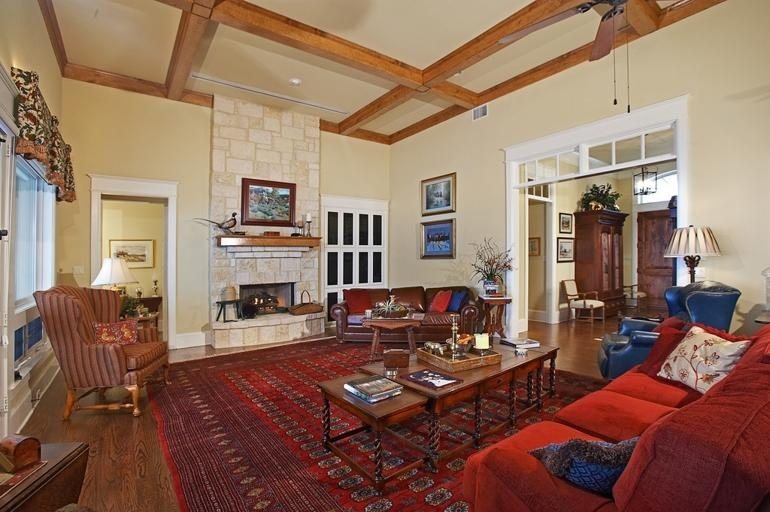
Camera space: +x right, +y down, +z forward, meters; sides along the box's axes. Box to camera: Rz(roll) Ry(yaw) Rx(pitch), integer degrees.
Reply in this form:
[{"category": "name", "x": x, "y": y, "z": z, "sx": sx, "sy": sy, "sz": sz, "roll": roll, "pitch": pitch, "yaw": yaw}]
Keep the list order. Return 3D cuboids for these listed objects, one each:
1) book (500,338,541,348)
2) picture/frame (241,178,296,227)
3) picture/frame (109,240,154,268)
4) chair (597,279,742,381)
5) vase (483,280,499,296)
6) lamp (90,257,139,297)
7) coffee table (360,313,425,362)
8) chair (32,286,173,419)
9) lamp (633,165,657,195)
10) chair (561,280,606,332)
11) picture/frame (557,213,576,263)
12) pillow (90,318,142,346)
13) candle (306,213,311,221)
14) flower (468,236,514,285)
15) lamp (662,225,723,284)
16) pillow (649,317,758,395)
[{"category": "book", "x": 1.550, "y": 1.026, "z": 5.357, "sx": 0.293, "sy": 0.052, "sz": 0.277, "roll": 1, "pitch": -7, "yaw": -10}, {"category": "picture/frame", "x": -2.100, "y": -0.956, "z": 8.188, "sx": 1.037, "sy": 0.797, "sz": 0.079, "roll": 1, "pitch": -2, "yaw": -35}, {"category": "picture/frame", "x": -4.702, "y": -0.037, "z": 8.547, "sx": 0.624, "sy": 0.475, "sz": 0.041, "roll": 1, "pitch": 1, "yaw": -34}, {"category": "chair", "x": 3.300, "y": 0.863, "z": 5.604, "sx": 1.443, "sy": 1.376, "sz": 1.224, "roll": 2, "pitch": -3, "yaw": 30}, {"category": "vase", "x": 1.701, "y": 0.531, "z": 7.434, "sx": 0.254, "sy": 0.223, "sz": 0.244, "roll": -1, "pitch": -1, "yaw": 5}, {"category": "lamp", "x": -3.951, "y": 0.337, "z": 6.734, "sx": 0.629, "sy": 0.644, "sz": 0.704, "roll": -4, "pitch": 6, "yaw": -27}, {"category": "coffee table", "x": 0.108, "y": 1.179, "z": 6.818, "sx": 0.814, "sy": 0.541, "sz": 0.660, "roll": 0, "pitch": -5, "yaw": 1}, {"category": "chair", "x": -3.348, "y": 1.061, "z": 5.830, "sx": 1.597, "sy": 1.681, "sz": 1.377, "roll": 2, "pitch": -2, "yaw": -8}, {"category": "lamp", "x": 5.764, "y": -1.641, "z": 10.234, "sx": 0.501, "sy": 0.596, "sz": 1.193, "roll": -2, "pitch": -2, "yaw": 29}, {"category": "chair", "x": 3.863, "y": 0.933, "z": 9.066, "sx": 0.906, "sy": 1.125, "sz": 0.892, "roll": -4, "pitch": -3, "yaw": 44}, {"category": "picture/frame", "x": 3.732, "y": -0.379, "z": 9.561, "sx": 0.097, "sy": 0.820, "sz": 0.709, "roll": -2, "pitch": -2, "yaw": 43}, {"category": "pillow", "x": -3.158, "y": 0.912, "z": 5.405, "sx": 0.344, "sy": 0.231, "sz": 0.114, "roll": 8, "pitch": -17, "yaw": -42}, {"category": "candle", "x": -1.412, "y": -0.733, "z": 8.572, "sx": 0.085, "sy": 0.171, "sz": 0.279, "roll": -1, "pitch": -2, "yaw": -5}, {"category": "flower", "x": 1.775, "y": 0.056, "z": 7.722, "sx": 0.711, "sy": 0.654, "sz": 0.742, "roll": 0, "pitch": -5, "yaw": 40}, {"category": "lamp", "x": 3.710, "y": -0.037, "z": 5.568, "sx": 0.551, "sy": 0.665, "sz": 0.439, "roll": 0, "pitch": -1, "yaw": -35}, {"category": "pillow", "x": 2.875, "y": 0.975, "z": 4.236, "sx": 0.571, "sy": 0.180, "sz": 0.581, "roll": -41, "pitch": 10, "yaw": 40}]
